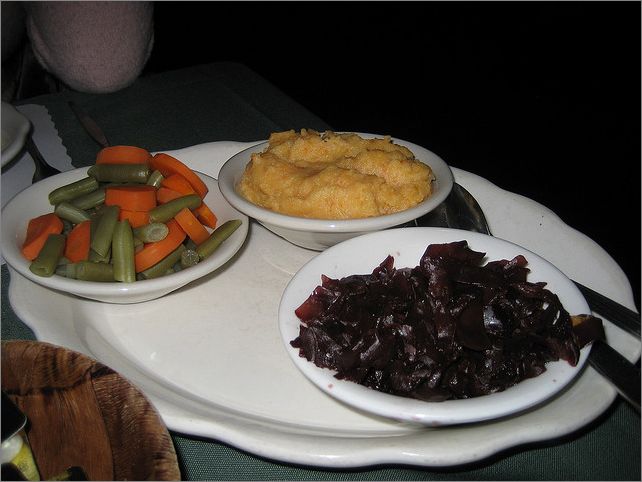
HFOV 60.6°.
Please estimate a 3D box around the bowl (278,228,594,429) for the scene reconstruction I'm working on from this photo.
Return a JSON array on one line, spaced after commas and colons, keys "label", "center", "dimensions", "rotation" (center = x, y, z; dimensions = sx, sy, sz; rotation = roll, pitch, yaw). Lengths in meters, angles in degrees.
[{"label": "bowl", "center": [0.402, 0.268, 2.005], "dimensions": [1.114, 0.146, 0.845], "rotation": [-3, 50, -5]}]
